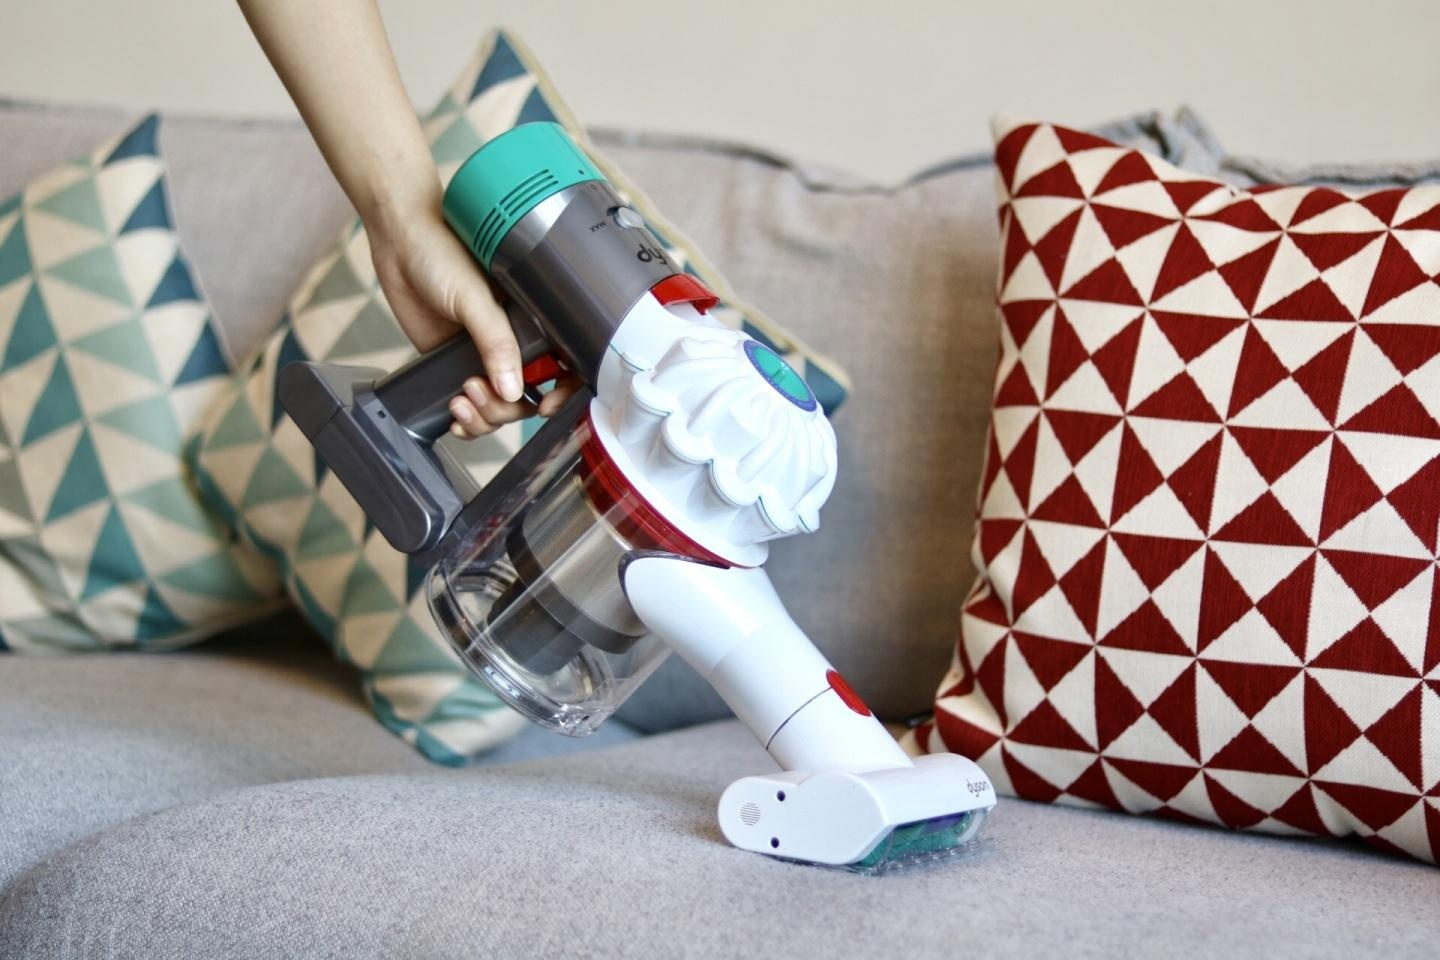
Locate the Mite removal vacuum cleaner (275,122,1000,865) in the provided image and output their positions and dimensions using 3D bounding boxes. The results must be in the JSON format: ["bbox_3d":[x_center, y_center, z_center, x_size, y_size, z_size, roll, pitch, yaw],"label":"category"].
[{"bbox_3d":[-0.073,0.045,1.257,0.383,0.457,0.654,-36,51,-15],"label":"Mite removal vacuum cleaner"}]
